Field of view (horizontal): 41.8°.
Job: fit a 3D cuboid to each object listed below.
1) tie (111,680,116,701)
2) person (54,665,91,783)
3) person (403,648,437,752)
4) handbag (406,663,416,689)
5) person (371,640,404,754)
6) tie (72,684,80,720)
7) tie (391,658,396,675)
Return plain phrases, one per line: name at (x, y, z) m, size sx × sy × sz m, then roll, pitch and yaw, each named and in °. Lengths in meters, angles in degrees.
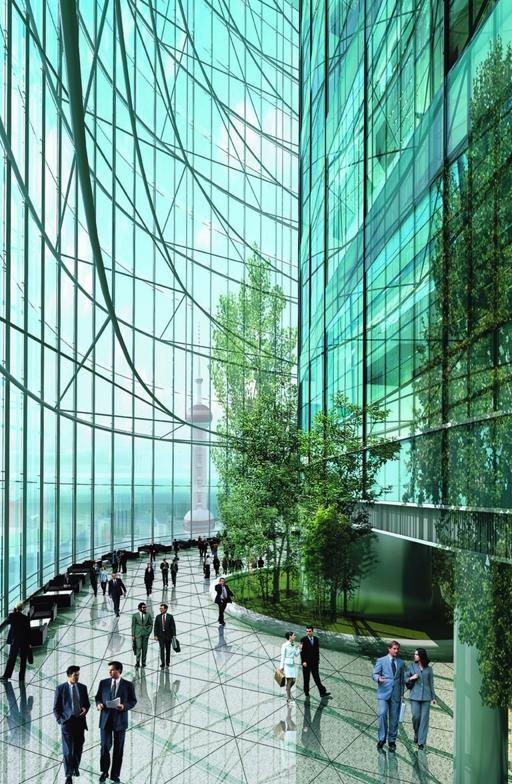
tie at (-1.640, 3.472, 7.796) m, size 0.064 × 0.219 × 0.062 m, roll 1°, pitch -8°, yaw -12°
person at (-2.041, 3.725, 7.459) m, size 0.347 × 1.290 × 0.332 m, roll 3°, pitch -9°, yaw -20°
person at (2.203, 4.170, 9.077) m, size 0.354 × 1.371 × 0.818 m, roll -2°, pitch -9°, yaw 13°
handbag at (2.031, 3.825, 8.856) m, size 0.106 × 0.343 × 0.205 m, roll 4°, pitch -3°, yaw 15°
person at (1.791, 4.101, 9.014) m, size 0.405 × 1.495 × 0.897 m, roll -2°, pitch -9°, yaw 12°
tie at (-1.983, 3.428, 7.420) m, size 0.097 × 0.321 × 0.117 m, roll 2°, pitch -9°, yaw -18°
tie at (1.800, 3.636, 8.818) m, size 0.049 × 0.188 × 0.037 m, roll -1°, pitch -8°, yaw 1°
